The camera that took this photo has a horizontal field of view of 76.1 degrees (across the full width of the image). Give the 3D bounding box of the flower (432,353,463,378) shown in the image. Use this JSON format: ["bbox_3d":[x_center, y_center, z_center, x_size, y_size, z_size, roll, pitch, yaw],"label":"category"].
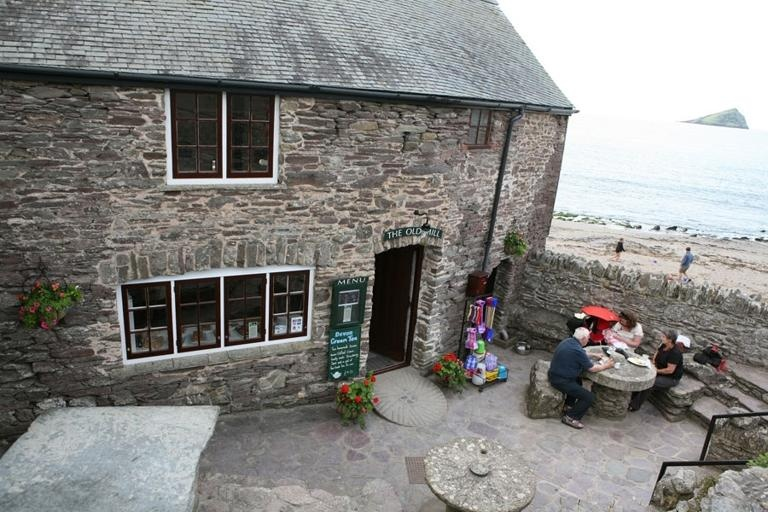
[{"bbox_3d":[1.590,2.743,12.266,0.702,0.367,0.655,4,4,30],"label":"flower"}]

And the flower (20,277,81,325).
[{"bbox_3d":[-6.095,0.816,9.024,0.487,0.624,0.996,36,-11,-40],"label":"flower"}]

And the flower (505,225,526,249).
[{"bbox_3d":[3.851,-0.468,14.140,0.467,0.827,0.695,16,20,33],"label":"flower"}]

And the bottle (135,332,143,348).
[{"bbox_3d":[-4.897,1.690,9.834,0.138,0.307,0.050,-3,20,-21],"label":"bottle"}]

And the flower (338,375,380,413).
[{"bbox_3d":[-0.602,3.095,10.834,0.787,0.769,0.450,0,18,-12],"label":"flower"}]

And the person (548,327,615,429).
[{"bbox_3d":[4.459,2.744,11.284,1.264,2.364,0.786,6,18,5],"label":"person"}]

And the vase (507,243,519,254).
[{"bbox_3d":[3.677,-0.160,13.982,0.314,0.169,0.265,-5,15,-28],"label":"vase"}]

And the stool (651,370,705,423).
[{"bbox_3d":[7.127,3.428,11.867,1.048,0.658,1.112,47,33,9],"label":"stool"}]

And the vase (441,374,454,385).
[{"bbox_3d":[1.632,3.082,12.345,0.421,0.216,0.361,3,3,11],"label":"vase"}]
